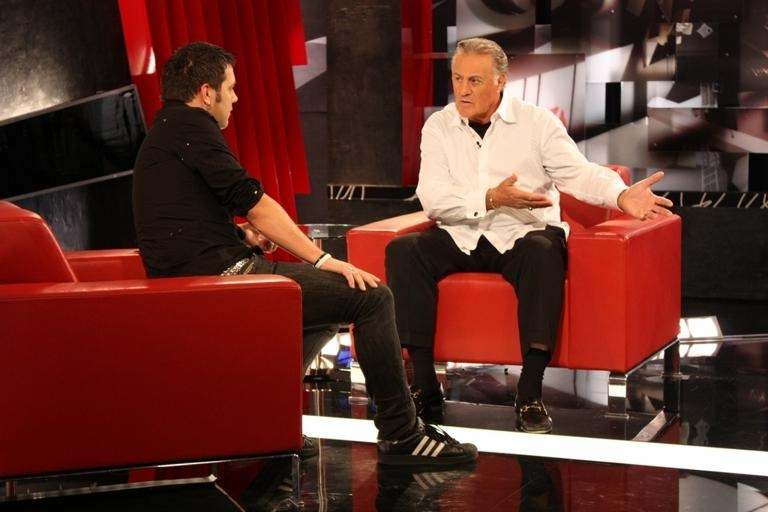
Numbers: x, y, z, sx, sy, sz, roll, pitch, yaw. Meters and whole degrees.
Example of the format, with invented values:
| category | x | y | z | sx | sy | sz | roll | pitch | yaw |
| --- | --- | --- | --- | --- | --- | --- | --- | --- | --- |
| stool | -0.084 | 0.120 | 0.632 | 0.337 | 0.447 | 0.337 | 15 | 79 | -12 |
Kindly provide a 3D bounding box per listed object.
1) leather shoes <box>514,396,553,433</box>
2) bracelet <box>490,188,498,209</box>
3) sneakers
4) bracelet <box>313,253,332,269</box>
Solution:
| category | x | y | z | sx | sy | sz | roll | pitch | yaw |
| --- | --- | --- | --- | --- | --- | --- | --- | --- | --- |
| leather shoes | 0.630 | 0.666 | 2.886 | 0.155 | 0.112 | 0.157 | 1 | 11 | 11 |
| bracelet | 0.491 | -0.247 | 3.078 | 0.048 | 0.063 | 0.025 | -6 | -9 | 4 |
| sneakers | 0.167 | 0.726 | 2.688 | 0.420 | 0.179 | 0.152 | 0 | -2 | -4 |
| bracelet | -0.220 | 0.012 | 2.525 | 0.060 | 0.020 | 0.043 | -39 | 26 | -22 |
